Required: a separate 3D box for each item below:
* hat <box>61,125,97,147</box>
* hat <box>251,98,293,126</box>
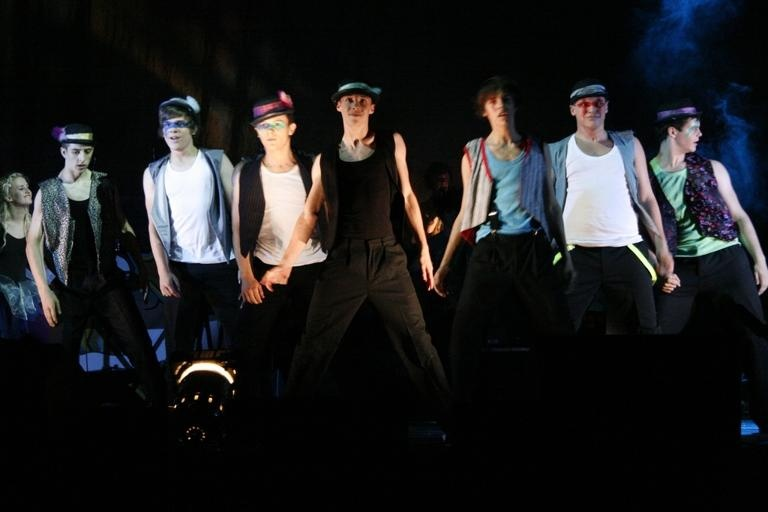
[{"bbox_3d":[-2.407,-0.937,5.634,0.203,0.078,0.169,1,5,11],"label":"hat"},{"bbox_3d":[-0.865,-1.110,5.467,0.238,0.088,0.206,-21,12,-11],"label":"hat"}]
